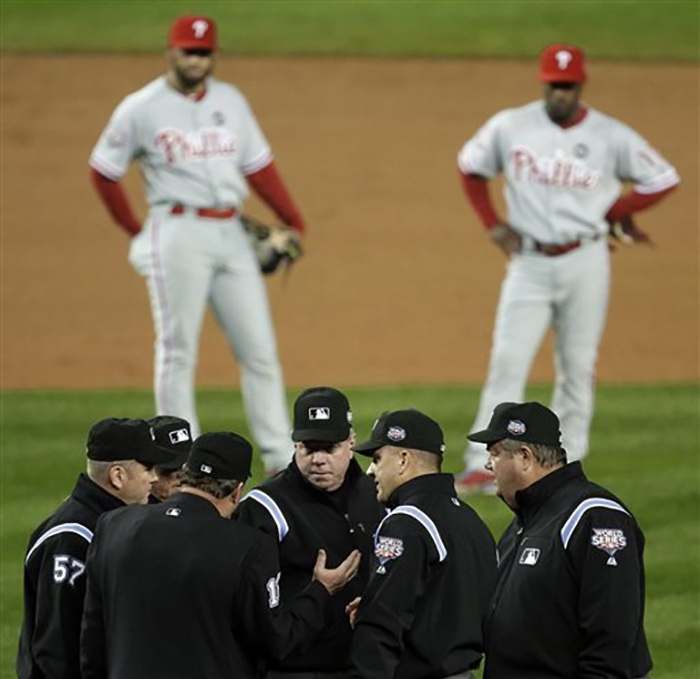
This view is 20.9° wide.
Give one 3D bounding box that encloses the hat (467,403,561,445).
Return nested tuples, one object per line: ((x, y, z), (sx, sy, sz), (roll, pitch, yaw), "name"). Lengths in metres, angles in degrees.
((0.766, 0.411, 9.013), (0.363, 0.189, 0.216), (2, -3, 7), "hat")

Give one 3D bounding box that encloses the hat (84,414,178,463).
((-1.036, 0.476, 8.984), (0.327, 0.160, 0.213), (2, 1, -8), "hat")

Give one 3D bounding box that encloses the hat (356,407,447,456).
((0.244, 0.454, 9.003), (0.323, 0.179, 0.216), (5, -6, 4), "hat")

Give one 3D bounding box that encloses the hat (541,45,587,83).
((1.255, -1.624, 11.254), (0.188, 0.128, 0.258), (3, 44, 4), "hat")

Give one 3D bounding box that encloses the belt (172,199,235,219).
((-0.833, -0.744, 10.975), (0.382, 0.094, 0.060), (-1, 12, -21), "belt")

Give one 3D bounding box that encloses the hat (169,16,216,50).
((-0.890, -1.761, 10.862), (0.257, 0.189, 0.163), (2, 11, -7), "hat")
